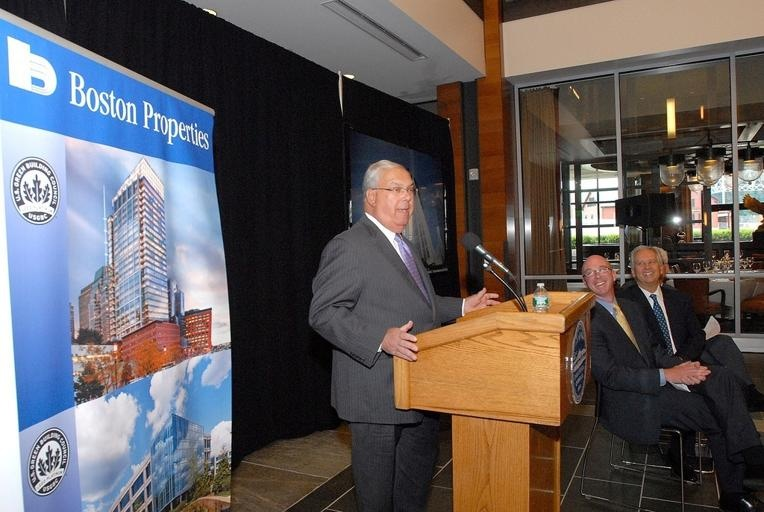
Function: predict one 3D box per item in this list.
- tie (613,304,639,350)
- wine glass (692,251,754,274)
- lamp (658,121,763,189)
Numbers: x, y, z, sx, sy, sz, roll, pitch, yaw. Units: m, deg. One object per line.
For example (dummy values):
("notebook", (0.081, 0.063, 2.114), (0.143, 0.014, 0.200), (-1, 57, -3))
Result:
("tie", (1.724, 0.508, 3.857), (0.068, 0.293, 0.215), (-16, 14, 37))
("wine glass", (4.194, 0.083, 6.622), (0.523, 0.240, 0.126), (-1, 4, 20))
("lamp", (4.042, -1.180, 6.692), (1.124, 0.669, 0.152), (-1, 7, 14))
